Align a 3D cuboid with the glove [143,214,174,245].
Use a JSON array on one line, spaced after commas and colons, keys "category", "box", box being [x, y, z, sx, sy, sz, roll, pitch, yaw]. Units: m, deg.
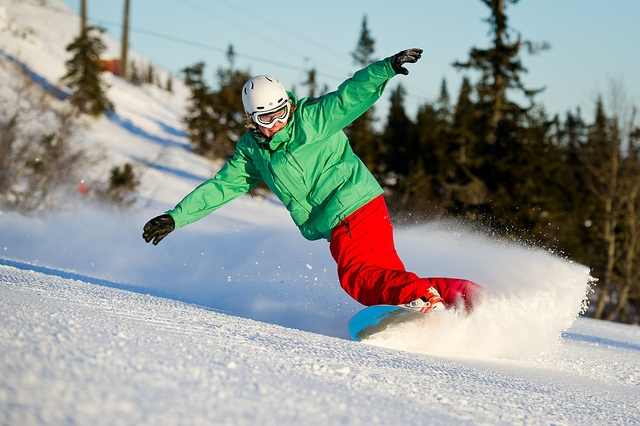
[{"category": "glove", "box": [-2.741, 0.269, 13.962, 0.470, 0.535, 0.352, -1, 13, -41]}]
